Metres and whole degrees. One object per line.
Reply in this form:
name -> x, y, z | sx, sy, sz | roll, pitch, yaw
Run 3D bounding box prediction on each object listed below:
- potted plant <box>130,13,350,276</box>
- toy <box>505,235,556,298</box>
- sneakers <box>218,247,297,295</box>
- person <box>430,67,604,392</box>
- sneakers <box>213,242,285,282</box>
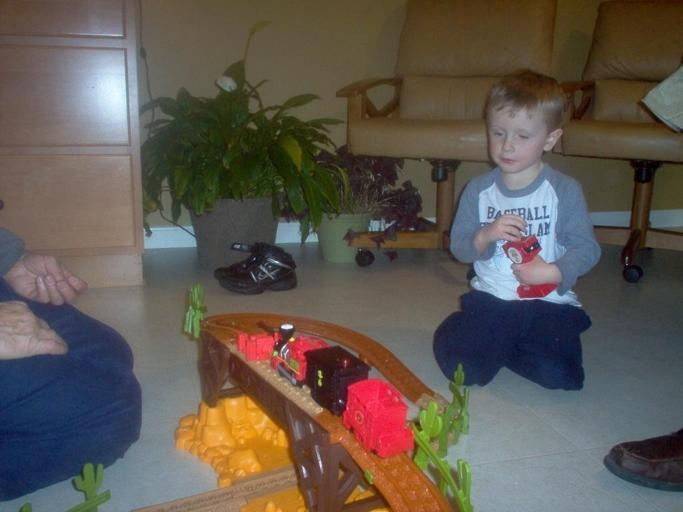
potted plant -> -0.438, -0.391, 2.348 | 1.022, 0.712, 0.999 | 2, 11, -10
toy -> 0.456, 0.034, 1.303 | 0.088, 0.135, 0.091 | -15, -3, -24
sneakers -> -0.330, 0.048, 2.029 | 0.256, 0.140, 0.177 | 0, 17, -5
person -> 0.440, -0.063, 1.336 | 0.387, 0.796, 0.276 | 5, 16, 25
sneakers -> -0.411, 0.003, 2.086 | 0.369, 0.154, 0.121 | -3, 31, -7
